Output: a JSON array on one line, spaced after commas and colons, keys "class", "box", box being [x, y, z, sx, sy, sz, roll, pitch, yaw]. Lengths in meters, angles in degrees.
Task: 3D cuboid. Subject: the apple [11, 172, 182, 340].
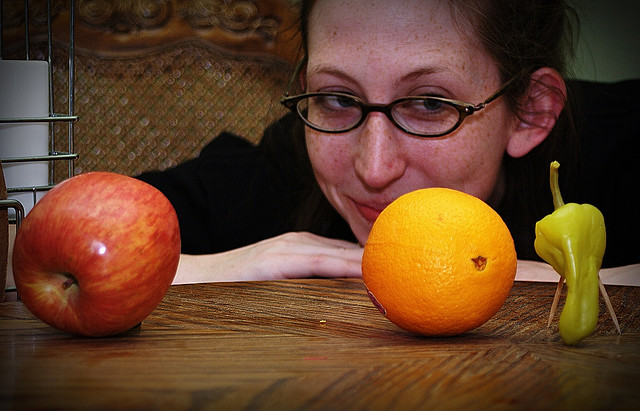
[{"class": "apple", "box": [-0.295, 0.045, 0.759, 0.147, 0.159, 0.144, 10, 25, -50]}]

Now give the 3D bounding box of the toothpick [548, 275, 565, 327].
[{"class": "toothpick", "box": [0.349, 0.143, 0.828, 0.008, 0.079, 0.008, -2, 26, -30]}]

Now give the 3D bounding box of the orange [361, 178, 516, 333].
[{"class": "orange", "box": [0.142, 0.074, 0.789, 0.157, 0.162, 0.197, -42, 21, -25]}]
